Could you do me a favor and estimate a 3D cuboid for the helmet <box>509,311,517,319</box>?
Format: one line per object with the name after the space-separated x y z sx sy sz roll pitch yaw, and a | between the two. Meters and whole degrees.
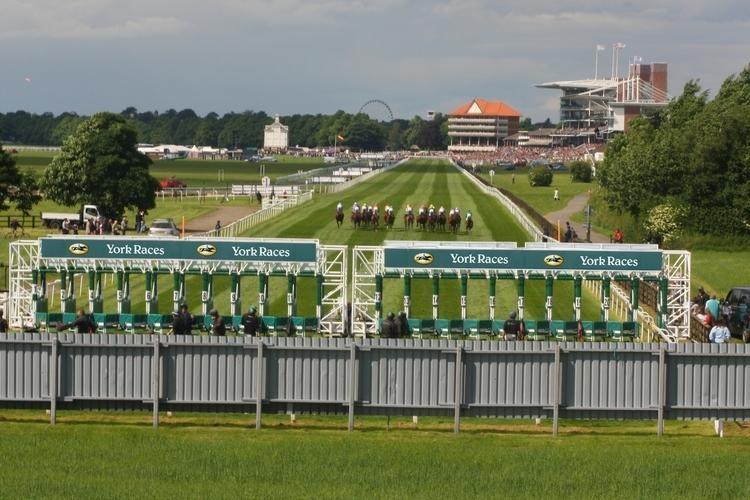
9.470 4.490 138.804 0.411 0.455 0.426 -5 18 2 | helmet

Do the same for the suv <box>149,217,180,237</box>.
-17.506 -1.765 167.698 1.281 1.130 2.864 0 7 -2 | suv

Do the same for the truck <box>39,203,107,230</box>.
-26.749 -2.367 177.630 5.740 2.401 2.493 0 4 0 | truck

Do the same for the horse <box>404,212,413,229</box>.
2.849 -2.355 172.955 0.756 1.273 1.834 -2 0 0 | horse
